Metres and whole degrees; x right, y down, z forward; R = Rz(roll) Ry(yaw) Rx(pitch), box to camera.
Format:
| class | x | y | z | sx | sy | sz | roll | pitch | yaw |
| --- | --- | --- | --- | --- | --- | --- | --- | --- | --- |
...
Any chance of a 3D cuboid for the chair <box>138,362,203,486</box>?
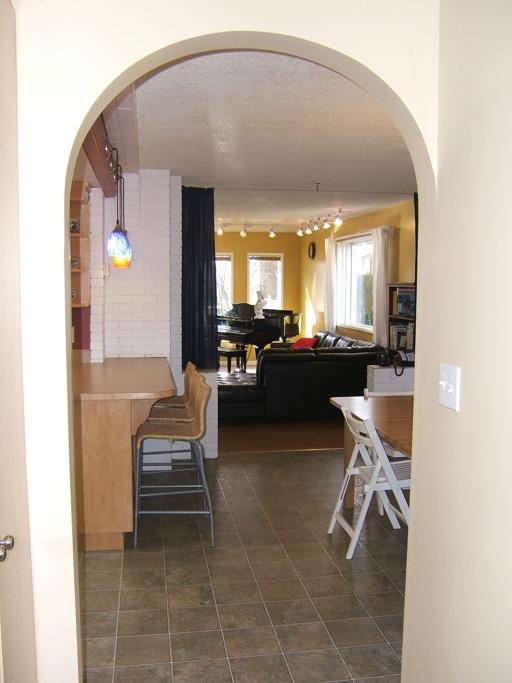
| class | x | y | z | sx | sy | sz | roll | pitch | yaw |
| --- | --- | --- | --- | --- | --- | --- | --- | --- | --- |
| chair | -0.657 | 0.646 | 3.776 | 0.284 | 0.539 | 0.840 | 2 | 5 | -3 |

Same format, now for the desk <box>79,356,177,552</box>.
| class | x | y | z | sx | sy | sz | roll | pitch | yaw |
| --- | --- | --- | --- | --- | --- | --- | --- | --- | --- |
| desk | -0.846 | 0.739 | 3.272 | 0.304 | 0.635 | 0.906 | -1 | 12 | -9 |

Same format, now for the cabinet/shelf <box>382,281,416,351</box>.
| class | x | y | z | sx | sy | sz | roll | pitch | yaw |
| --- | --- | --- | --- | --- | --- | --- | --- | --- | --- |
| cabinet/shelf | 1.851 | -0.319 | 6.460 | 0.186 | 0.852 | 0.796 | 1 | 4 | 4 |

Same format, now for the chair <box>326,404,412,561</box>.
| class | x | y | z | sx | sy | sz | roll | pitch | yaw |
| --- | --- | --- | --- | --- | --- | --- | --- | --- | --- |
| chair | 0.720 | 0.907 | 3.143 | 0.524 | 1.111 | 0.529 | -6 | 9 | -11 |

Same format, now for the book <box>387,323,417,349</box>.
| class | x | y | z | sx | sy | sz | roll | pitch | yaw |
| --- | --- | --- | --- | --- | --- | --- | --- | --- | --- |
| book | 1.884 | -0.048 | 6.501 | 0.212 | 0.498 | 0.450 | 1 | 5 | -3 |

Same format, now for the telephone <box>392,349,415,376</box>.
| class | x | y | z | sx | sy | sz | roll | pitch | yaw |
| --- | --- | --- | --- | --- | --- | --- | --- | --- | --- |
| telephone | 1.667 | 0.264 | 5.704 | 0.225 | 0.266 | 0.543 | 1 | 3 | 16 |

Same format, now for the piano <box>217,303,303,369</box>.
| class | x | y | z | sx | sy | sz | roll | pitch | yaw |
| --- | --- | --- | --- | --- | --- | --- | --- | --- | --- |
| piano | 0.034 | -0.100 | 9.655 | 1.162 | 1.020 | 0.927 | -2 | 4 | -36 |

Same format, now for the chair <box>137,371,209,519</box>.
| class | x | y | z | sx | sy | sz | roll | pitch | yaw |
| --- | --- | --- | --- | --- | --- | --- | --- | --- | --- |
| chair | -0.628 | 0.785 | 3.710 | 0.369 | 0.773 | 0.846 | 2 | 2 | -7 |
